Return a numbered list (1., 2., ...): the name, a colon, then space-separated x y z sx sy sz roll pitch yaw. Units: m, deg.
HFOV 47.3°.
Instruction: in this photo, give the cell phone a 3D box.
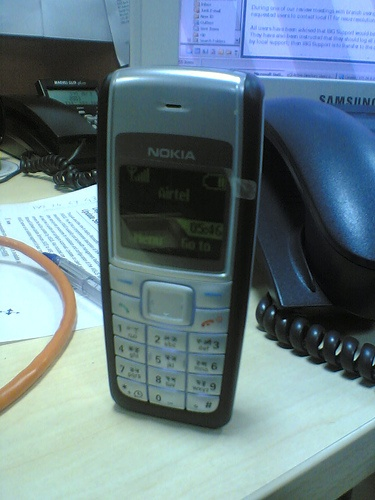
1. cell phone: -0.009 0.004 0.210 0.082 0.154 0.091 9 42 8
